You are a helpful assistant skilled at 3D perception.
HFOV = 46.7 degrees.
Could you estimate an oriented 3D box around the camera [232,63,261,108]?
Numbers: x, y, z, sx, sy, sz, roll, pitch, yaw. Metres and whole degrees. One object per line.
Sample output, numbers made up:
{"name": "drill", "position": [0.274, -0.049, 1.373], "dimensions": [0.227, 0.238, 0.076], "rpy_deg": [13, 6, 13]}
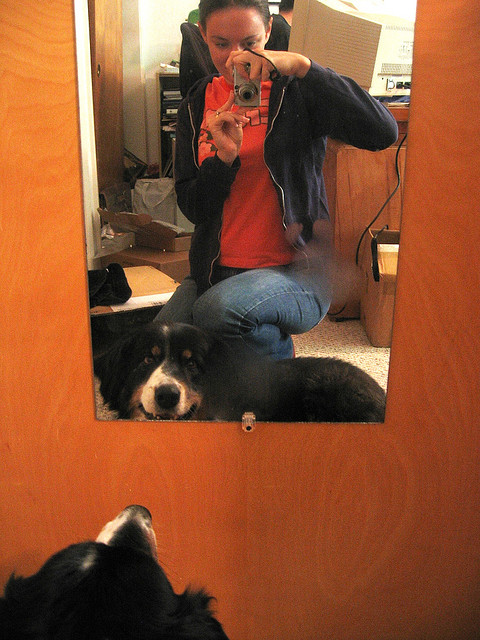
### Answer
{"name": "camera", "position": [0.005, -0.450, 1.033], "dimensions": [0.044, 0.098, 0.055], "rpy_deg": [-5, -20, 6]}

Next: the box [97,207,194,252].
{"name": "box", "position": [-0.174, -0.168, 1.065], "dimensions": [0.079, 0.060, 0.134], "rpy_deg": [19, 19, 32]}

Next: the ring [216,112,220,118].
{"name": "ring", "position": [-0.041, -0.374, 1.015], "dimensions": [0.007, 0.009, 0.003], "rpy_deg": [0, 6, 5]}

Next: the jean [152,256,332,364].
{"name": "jean", "position": [0.026, -0.010, 1.069], "dimensions": [0.250, 0.225, 0.094], "rpy_deg": [-19, -26, 25]}
